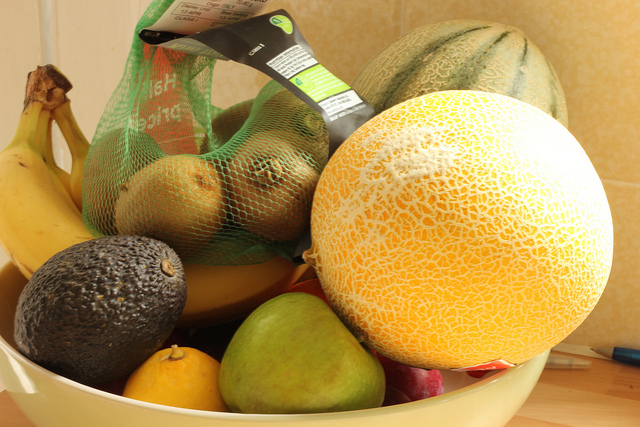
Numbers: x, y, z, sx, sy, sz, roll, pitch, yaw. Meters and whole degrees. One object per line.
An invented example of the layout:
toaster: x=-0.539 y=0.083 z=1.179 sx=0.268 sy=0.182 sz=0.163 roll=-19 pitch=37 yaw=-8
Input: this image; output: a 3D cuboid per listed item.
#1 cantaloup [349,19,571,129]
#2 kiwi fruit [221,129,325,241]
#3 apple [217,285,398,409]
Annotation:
cantaloup: x=0.193 y=-0.185 z=0.782 sx=0.196 sy=0.163 sz=0.126 roll=-48 pitch=44 yaw=-8
kiwi fruit: x=-0.055 y=-0.035 z=0.694 sx=0.121 sy=0.109 sz=0.121 roll=-5 pitch=18 yaw=-13
apple: x=-0.003 y=0.157 z=0.634 sx=0.148 sy=0.147 sz=0.120 roll=-33 pitch=30 yaw=47
